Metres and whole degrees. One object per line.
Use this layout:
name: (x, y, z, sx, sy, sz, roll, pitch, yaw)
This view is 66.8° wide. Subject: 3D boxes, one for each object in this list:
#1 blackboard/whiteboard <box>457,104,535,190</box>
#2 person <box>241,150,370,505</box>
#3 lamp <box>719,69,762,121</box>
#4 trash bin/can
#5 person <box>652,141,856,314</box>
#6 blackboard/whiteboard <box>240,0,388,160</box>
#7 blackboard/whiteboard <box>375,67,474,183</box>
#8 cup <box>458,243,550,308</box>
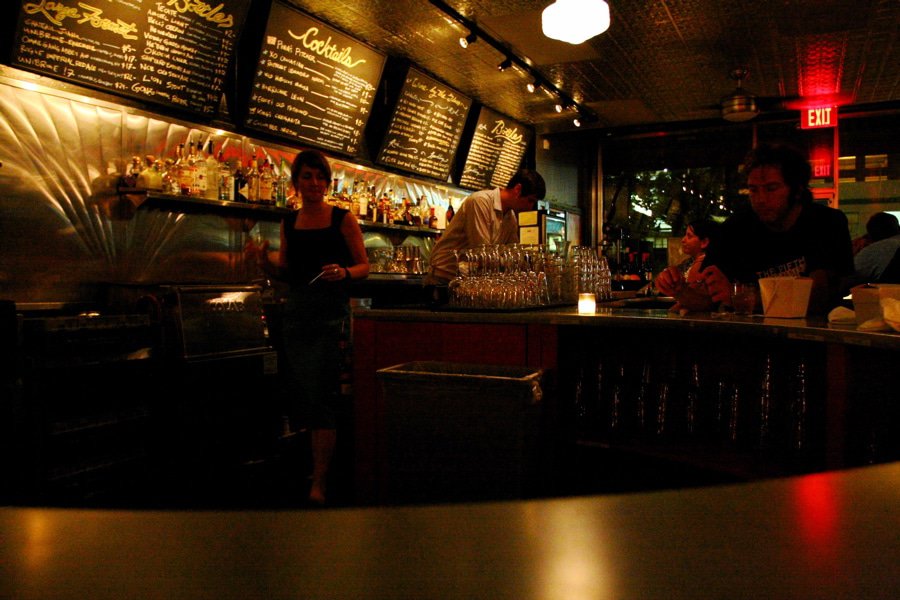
blackboard/whiteboard: (0.547, -1.712, 7.907, 0.032, 0.796, 1.386, 21, 13, 29)
person: (-0.760, 0.132, 3.879, 0.578, 1.933, 1.073, -4, 10, -15)
lamp: (2.902, -2.073, 6.849, 0.492, 0.413, 0.468, -8, 7, -35)
trash bin/can: (-0.061, 0.546, 2.696, 0.676, 0.440, 0.352, 9, -23, -30)
person: (1.484, -0.328, 3.206, 0.733, 0.766, 0.887, 5, 11, 30)
blackboard/whiteboard: (-1.090, -1.728, 5.260, 0.422, 0.930, 1.452, 8, 0, 36)
blackboard/whiteboard: (-0.289, -1.722, 6.599, 1.032, 1.280, 0.188, 10, 6, -45)
cup: (0.269, -0.116, 3.437, 0.385, 0.172, 0.508, -1, -1, 6)
